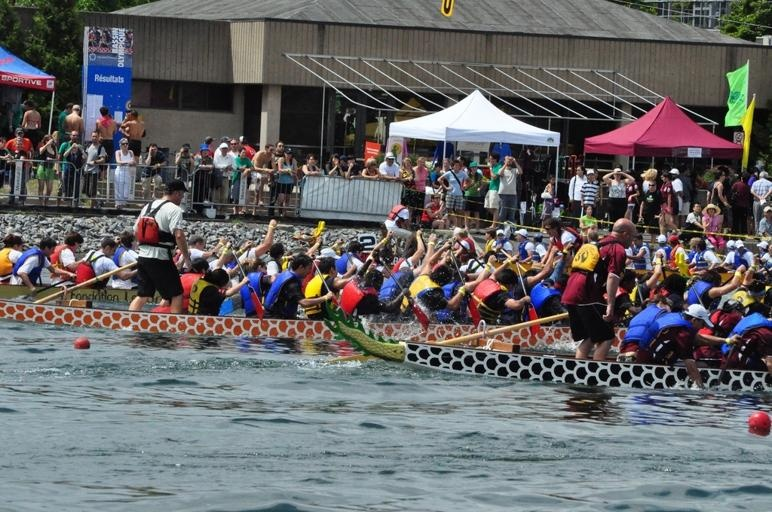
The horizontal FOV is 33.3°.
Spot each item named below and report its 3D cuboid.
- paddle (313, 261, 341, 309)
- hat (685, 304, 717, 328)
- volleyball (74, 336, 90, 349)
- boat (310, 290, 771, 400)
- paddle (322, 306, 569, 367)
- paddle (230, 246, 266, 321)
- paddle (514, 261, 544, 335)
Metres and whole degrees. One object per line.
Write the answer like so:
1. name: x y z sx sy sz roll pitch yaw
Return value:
1. paddle: -1.195 0.558 25.561 0.244 0.801 0.512 -14 8 -29
2. hat: 5.903 1.125 24.297 0.393 0.443 0.788 4 3 31
3. volleyball: -5.819 1.644 24.665 0.234 0.237 0.219 5 23 -21
4. boat: 2.834 1.732 24.537 6.516 1.148 1.228 5 -3 3
5. paddle: 0.964 1.571 25.286 3.600 1.234 0.561 -5 -8 -11
6. paddle: -2.900 0.680 26.320 0.928 1.074 0.953 -15 -13 40
7. paddle: 2.971 0.925 26.824 0.366 0.724 1.255 2 13 -8
